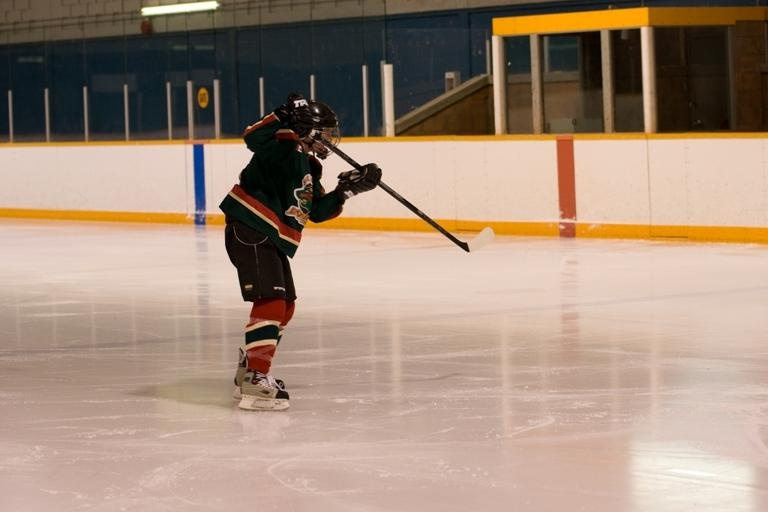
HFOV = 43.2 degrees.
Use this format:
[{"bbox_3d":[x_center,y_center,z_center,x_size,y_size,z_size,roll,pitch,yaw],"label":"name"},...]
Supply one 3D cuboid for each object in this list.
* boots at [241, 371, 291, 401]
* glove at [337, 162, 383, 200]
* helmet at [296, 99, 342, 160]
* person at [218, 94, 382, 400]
[{"bbox_3d":[-0.552,0.603,4.360,0.204,0.131,0.133,-1,4,-16],"label":"boots"},{"bbox_3d":[-0.160,-0.397,4.605,0.172,0.083,0.229,-27,18,-36],"label":"glove"},{"bbox_3d":[-0.281,-0.671,4.581,0.318,0.258,0.229,9,19,-11],"label":"helmet"},{"bbox_3d":[-0.428,-0.046,4.452,0.645,1.514,0.349,-1,4,-14],"label":"person"}]
